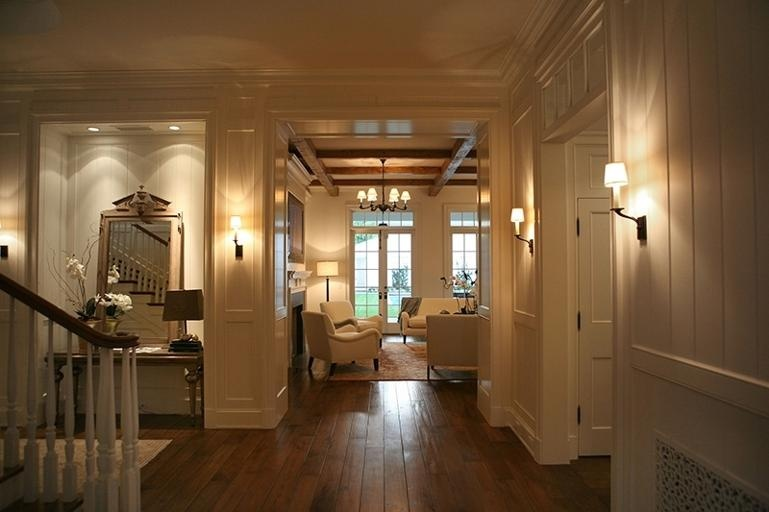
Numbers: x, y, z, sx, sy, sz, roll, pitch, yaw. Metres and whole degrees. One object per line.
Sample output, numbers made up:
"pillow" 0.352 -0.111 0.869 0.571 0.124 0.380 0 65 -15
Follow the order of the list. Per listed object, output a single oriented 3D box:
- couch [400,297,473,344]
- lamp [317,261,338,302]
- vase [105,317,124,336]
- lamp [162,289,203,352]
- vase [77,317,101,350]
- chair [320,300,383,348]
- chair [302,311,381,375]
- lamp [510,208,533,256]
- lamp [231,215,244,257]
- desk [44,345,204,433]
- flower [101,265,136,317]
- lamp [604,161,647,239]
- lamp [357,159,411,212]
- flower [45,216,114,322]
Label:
"couch" 1.071 1.242 10.781 1.493 0.799 0.767 0 1 4
"lamp" -1.161 0.510 11.324 0.464 0.807 0.525 0 4 -6
"vase" -3.121 0.794 6.335 0.207 0.164 0.213 1 -3 14
"lamp" -2.185 0.709 6.050 0.407 0.710 0.431 -1 5 -19
"vase" -3.323 0.888 6.249 0.226 0.389 0.566 -2 5 -31
"chair" -0.572 1.229 9.751 1.013 0.871 1.035 -3 -4 18
"chair" -0.648 1.289 8.433 1.169 1.014 0.984 0 4 1
"lamp" 1.384 -0.233 5.544 0.240 0.470 0.133 4 3 18
"lamp" -1.597 -0.194 6.010 0.126 0.465 0.124 -1 4 -14
"desk" -2.523 1.524 5.972 1.411 0.748 0.906 -1 -5 1
"flower" -3.066 0.403 6.295 0.322 0.595 0.306 -1 4 -44
"lamp" 1.758 -0.396 4.018 0.279 0.588 0.270 2 5 24
"lamp" -0.014 -1.258 10.134 1.020 1.026 0.979 0 2 10
"flower" -3.694 0.377 6.659 0.469 1.005 0.550 -15 6 -34
